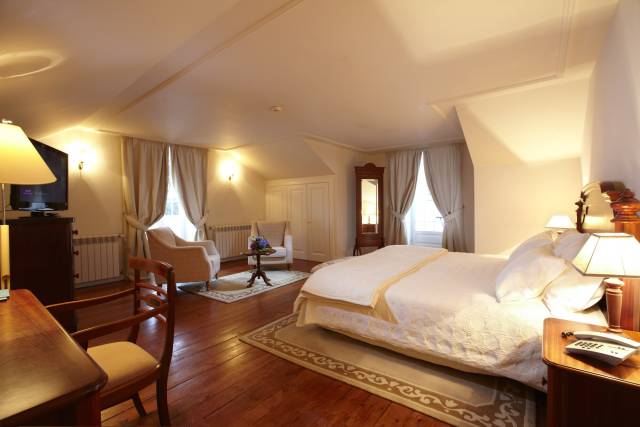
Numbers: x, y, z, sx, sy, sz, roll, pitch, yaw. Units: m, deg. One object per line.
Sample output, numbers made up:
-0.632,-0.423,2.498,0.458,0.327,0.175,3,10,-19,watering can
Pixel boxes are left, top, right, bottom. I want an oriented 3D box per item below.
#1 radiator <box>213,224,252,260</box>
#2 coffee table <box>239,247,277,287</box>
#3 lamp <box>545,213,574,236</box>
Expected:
-1.843,0.579,8.036,0.083,0.670,0.943,4,3,24,radiator
-0.972,0.850,6.272,0.546,0.529,0.537,0,-1,-3,coffee table
3.254,0.095,5.336,0.371,0.325,0.367,-7,8,-39,lamp
